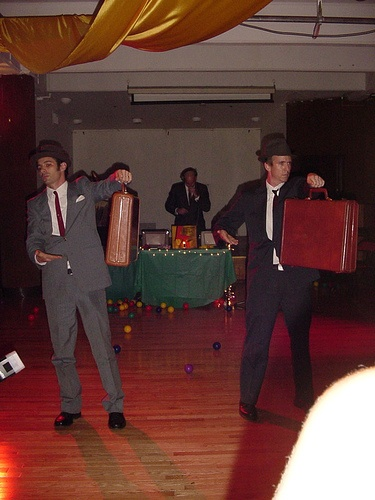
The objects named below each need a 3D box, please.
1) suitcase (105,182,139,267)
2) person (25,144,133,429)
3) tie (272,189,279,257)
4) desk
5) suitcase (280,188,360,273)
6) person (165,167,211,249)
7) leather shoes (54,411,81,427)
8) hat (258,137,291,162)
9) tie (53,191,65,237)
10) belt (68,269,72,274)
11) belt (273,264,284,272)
[{"bbox_3d":[-0.313,-0.115,2.400,0.160,0.379,0.219,-1,5,-4],"label":"suitcase"},{"bbox_3d":[-0.521,0.183,2.449,0.536,1.395,0.318,-1,5,-2],"label":"person"},{"bbox_3d":[0.432,-0.180,2.445,0.031,0.227,0.070,0,5,9],"label":"tie"},{"bbox_3d":[-0.040,0.266,5.240,0.955,0.411,0.677,0,2,4],"label":"desk"},{"bbox_3d":[0.587,-0.087,2.230,0.110,0.350,0.347,-6,7,-40],"label":"suitcase"},{"bbox_3d":[0.006,-0.684,6.961,0.638,0.823,1.520,-1,4,-3],"label":"person"},{"bbox_3d":[-0.606,0.868,2.533,0.050,0.044,0.123,-5,-10,31],"label":"leather shoes"},{"bbox_3d":[0.430,-0.507,2.496,0.137,0.128,0.281,-1,4,1],"label":"hat"},{"bbox_3d":[-0.614,-0.173,2.390,0.032,0.218,0.084,-4,6,-30],"label":"tie"},{"bbox_3d":[-0.556,0.104,2.357,0.016,0.022,0.025,-2,-1,-5],"label":"belt"},{"bbox_3d":[0.444,0.087,2.426,0.031,0.032,0.013,-5,-18,10],"label":"belt"}]
